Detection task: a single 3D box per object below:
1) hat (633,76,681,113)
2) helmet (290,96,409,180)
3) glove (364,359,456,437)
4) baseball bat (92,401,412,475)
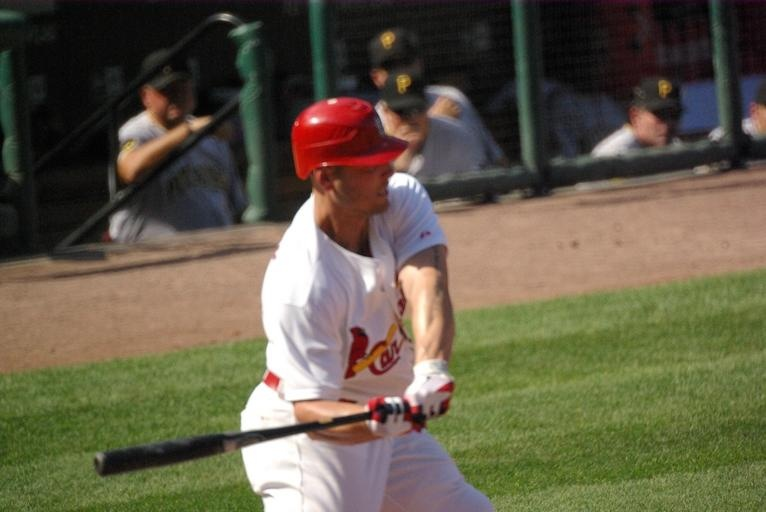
[{"bbox_3d":[1.651,-0.977,8.027,0.193,0.137,0.252,-1,10,-15],"label":"hat"},{"bbox_3d":[-0.169,-0.528,5.847,0.399,0.230,0.317,-8,25,7],"label":"helmet"},{"bbox_3d":[0.114,0.616,5.789,0.369,0.242,0.187,-14,37,-5],"label":"glove"},{"bbox_3d":[-0.591,0.835,6.071,1.513,0.177,0.171,-12,0,-12],"label":"baseball bat"}]
